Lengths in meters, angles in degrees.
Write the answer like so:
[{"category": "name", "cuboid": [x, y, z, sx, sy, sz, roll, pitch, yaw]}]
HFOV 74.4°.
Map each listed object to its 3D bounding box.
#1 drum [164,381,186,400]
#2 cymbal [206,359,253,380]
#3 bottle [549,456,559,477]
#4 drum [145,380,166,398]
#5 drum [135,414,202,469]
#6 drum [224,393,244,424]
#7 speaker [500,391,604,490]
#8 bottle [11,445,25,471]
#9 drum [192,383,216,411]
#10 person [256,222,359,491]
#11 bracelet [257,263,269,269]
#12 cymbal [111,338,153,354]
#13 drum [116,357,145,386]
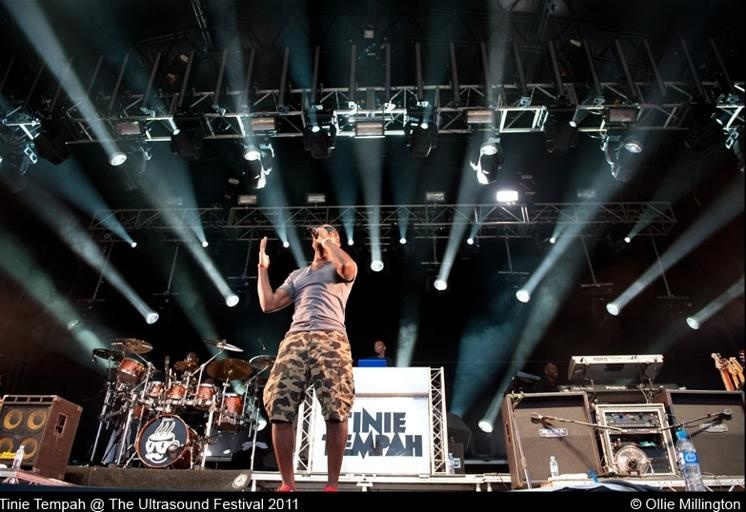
[{"category": "drum", "cuboid": [-3.064, 2.107, 7.639, 0.230, 0.213, 0.220, -2, -29, 17]}, {"category": "cymbal", "cuboid": [-2.533, 2.001, 8.600, 0.723, 0.332, 0.865, 7, -31, -10]}, {"category": "bottle", "cuboid": [1.926, 2.243, 5.233, 0.104, 0.203, 0.131, -4, -31, 10]}, {"category": "drum", "cuboid": [-3.398, 2.077, 7.660, 0.224, 0.202, 0.217, 10, -35, -8]}, {"category": "drum", "cuboid": [-2.967, 2.683, 7.039, 0.812, 0.779, 0.487, -18, -31, 1]}, {"category": "drum", "cuboid": [-2.259, 2.454, 7.899, 0.407, 0.375, 0.391, 11, -12, -34]}, {"category": "speaker", "cuboid": [1.936, 1.991, 5.358, 0.968, 0.979, 0.491, -7, -32, 13]}, {"category": "bottle", "cuboid": [-3.940, 2.242, 5.460, 0.098, 0.285, 0.272, 21, -36, -28]}, {"category": "drum", "cuboid": [-2.679, 2.213, 7.807, 0.332, 0.442, 0.274, 11, -32, -15]}, {"category": "person", "cuboid": [-0.615, 0.795, 4.392, 0.915, 2.411, 0.731, 3, -31, -2]}, {"category": "bracelet", "cuboid": [-1.068, 0.096, 4.706, 0.082, 0.046, 0.112, 3, -5, -34]}, {"category": "cymbal", "cuboid": [-4.301, 1.569, 8.703, 0.607, 0.192, 0.755, 16, -33, -24]}, {"category": "drum", "cuboid": [-3.945, 1.856, 7.980, 0.422, 0.375, 0.474, 16, -34, -24]}]
